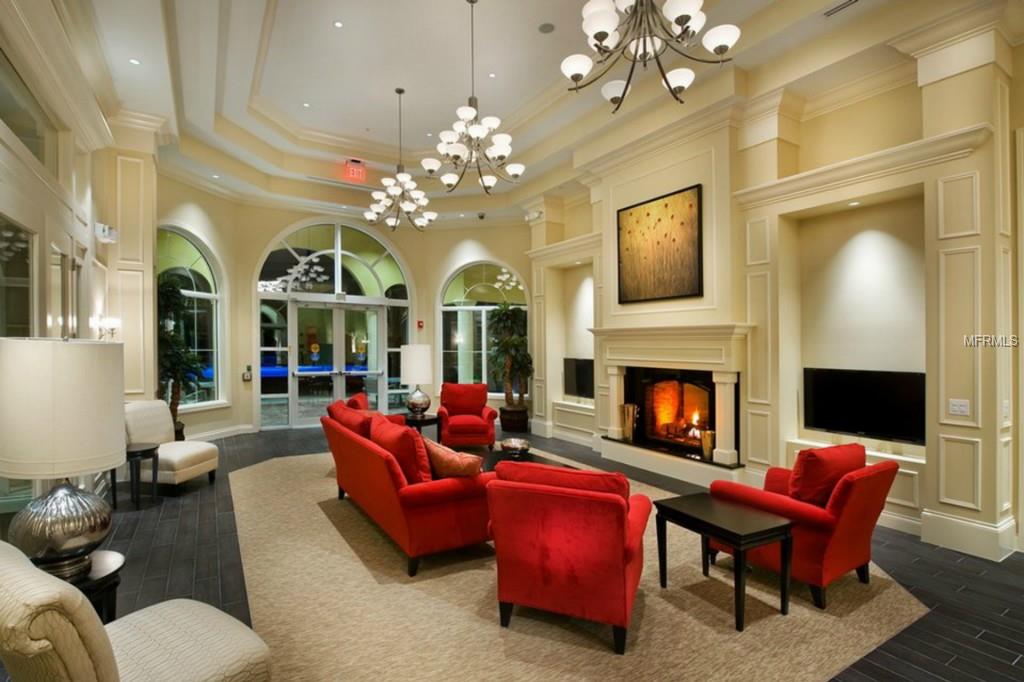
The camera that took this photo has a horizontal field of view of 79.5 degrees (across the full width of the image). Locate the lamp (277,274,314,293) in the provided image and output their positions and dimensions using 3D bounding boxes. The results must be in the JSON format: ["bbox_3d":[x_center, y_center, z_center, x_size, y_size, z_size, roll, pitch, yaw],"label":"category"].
[{"bbox_3d":[-3.871,-1.017,10.949,0.563,0.291,0.072,0,-1,-39],"label":"lamp"}]

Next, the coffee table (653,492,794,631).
[{"bbox_3d":[1.760,1.812,5.188,0.640,0.756,0.912,-1,3,-32],"label":"coffee table"}]

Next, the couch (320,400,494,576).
[{"bbox_3d":[-1.198,1.389,6.643,1.155,1.309,2.622,-2,6,-30],"label":"couch"}]

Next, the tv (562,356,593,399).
[{"bbox_3d":[1.088,0.600,10.054,0.136,0.588,0.675,-2,4,-28],"label":"tv"}]

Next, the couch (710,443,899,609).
[{"bbox_3d":[2.591,1.506,5.473,1.133,1.178,1.296,1,0,-41],"label":"couch"}]

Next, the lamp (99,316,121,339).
[{"bbox_3d":[-4.957,-0.155,7.587,0.222,0.271,0.449,-1,-1,-32],"label":"lamp"}]

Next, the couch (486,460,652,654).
[{"bbox_3d":[0.420,1.640,4.781,1.131,1.431,0.456,-1,0,18],"label":"couch"}]

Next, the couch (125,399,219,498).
[{"bbox_3d":[-4.087,1.209,7.336,0.950,0.945,0.811,5,7,28],"label":"couch"}]

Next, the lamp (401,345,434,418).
[{"bbox_3d":[-1.312,0.539,8.496,0.645,0.923,0.639,0,-7,-24],"label":"lamp"}]

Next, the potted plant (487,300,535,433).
[{"bbox_3d":[-0.001,0.454,10.674,0.732,2.185,0.676,-1,0,0],"label":"potted plant"}]

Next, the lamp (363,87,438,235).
[{"bbox_3d":[-1.586,-2.711,8.695,0.889,1.812,0.868,3,-5,-40],"label":"lamp"}]
